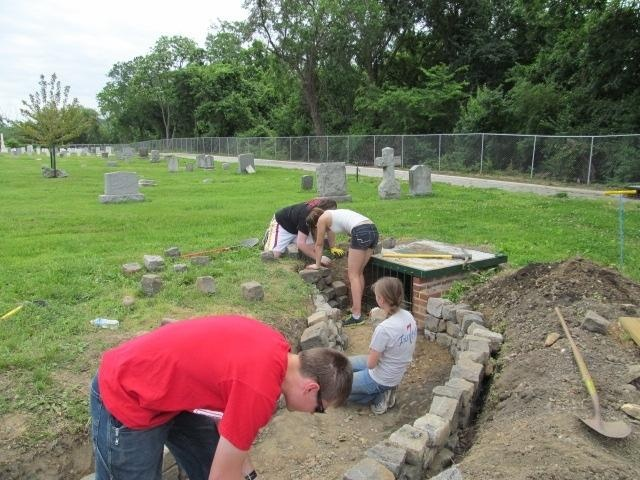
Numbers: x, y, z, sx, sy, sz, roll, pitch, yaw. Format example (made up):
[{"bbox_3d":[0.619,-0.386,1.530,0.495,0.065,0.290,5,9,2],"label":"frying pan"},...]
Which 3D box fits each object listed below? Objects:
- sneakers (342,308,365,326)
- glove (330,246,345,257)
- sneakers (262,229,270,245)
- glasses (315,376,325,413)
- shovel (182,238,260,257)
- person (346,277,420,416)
[{"bbox_3d":[0.541,1.208,8.510,0.387,0.195,0.154,-1,0,-8],"label":"sneakers"},{"bbox_3d":[0.307,0.207,9.582,0.184,0.055,0.146,14,17,-28],"label":"glove"},{"bbox_3d":[-0.935,-0.055,9.978,0.080,0.279,0.158,9,-3,-17],"label":"sneakers"},{"bbox_3d":[0.001,1.241,4.338,0.053,0.208,0.182,3,-10,-2],"label":"glasses"},{"bbox_3d":[-1.761,0.163,9.924,1.314,0.128,0.473,-4,18,-17],"label":"shovel"},{"bbox_3d":[0.745,1.237,6.493,0.739,1.664,0.267,2,11,4],"label":"person"}]
